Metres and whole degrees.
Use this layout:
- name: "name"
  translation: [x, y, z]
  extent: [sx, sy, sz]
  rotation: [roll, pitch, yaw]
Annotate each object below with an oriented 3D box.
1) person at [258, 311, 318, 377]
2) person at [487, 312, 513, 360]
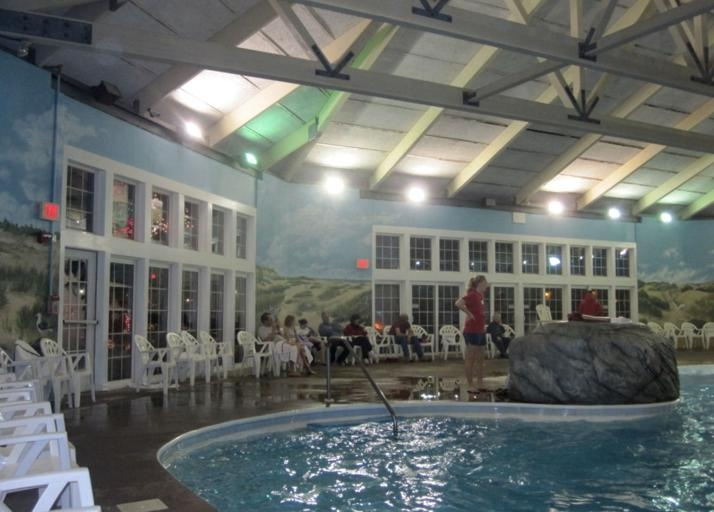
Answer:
- name: "person"
  translation: [-1.605, 1.975, 11.911]
  extent: [1.213, 1.306, 1.097]
  rotation: [1, -5, -11]
- name: "person"
  translation: [4.251, 2.420, 16.161]
  extent: [0.607, 1.298, 0.746]
  rotation: [-15, 7, -22]
